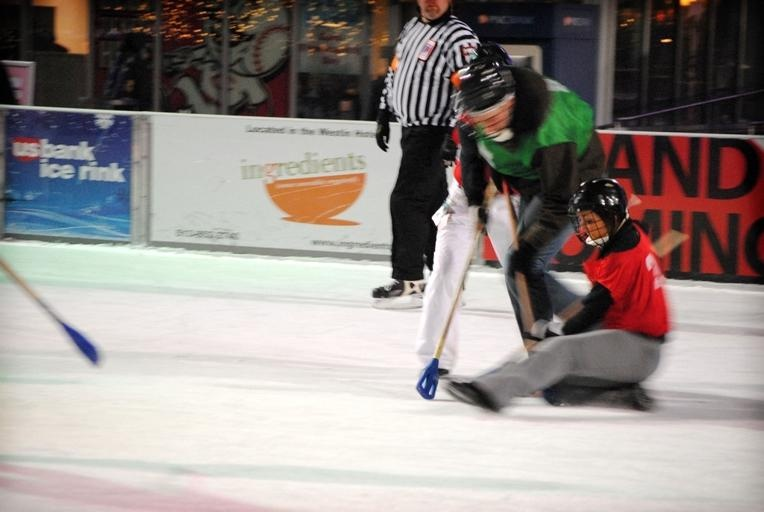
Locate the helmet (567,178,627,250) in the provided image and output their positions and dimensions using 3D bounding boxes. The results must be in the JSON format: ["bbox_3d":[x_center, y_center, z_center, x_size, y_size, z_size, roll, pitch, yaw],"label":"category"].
[{"bbox_3d":[1.102,-0.224,4.294,0.300,0.347,0.149,5,15,10],"label":"helmet"}]

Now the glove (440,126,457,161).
[{"bbox_3d":[0.375,-0.701,5.235,0.088,0.182,0.155,14,10,-6],"label":"glove"}]

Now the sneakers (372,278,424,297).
[{"bbox_3d":[0.115,0.233,5.967,0.452,0.132,0.121,0,1,-8],"label":"sneakers"}]

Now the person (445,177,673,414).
[{"bbox_3d":[1.014,0.210,4.285,1.019,1.205,0.374,2,15,-2],"label":"person"}]

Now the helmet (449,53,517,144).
[{"bbox_3d":[0.508,-0.812,4.340,0.282,0.428,0.352,-1,14,-14],"label":"helmet"}]

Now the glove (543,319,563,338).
[{"bbox_3d":[0.885,0.374,4.360,0.085,0.041,0.106,14,30,34],"label":"glove"}]
